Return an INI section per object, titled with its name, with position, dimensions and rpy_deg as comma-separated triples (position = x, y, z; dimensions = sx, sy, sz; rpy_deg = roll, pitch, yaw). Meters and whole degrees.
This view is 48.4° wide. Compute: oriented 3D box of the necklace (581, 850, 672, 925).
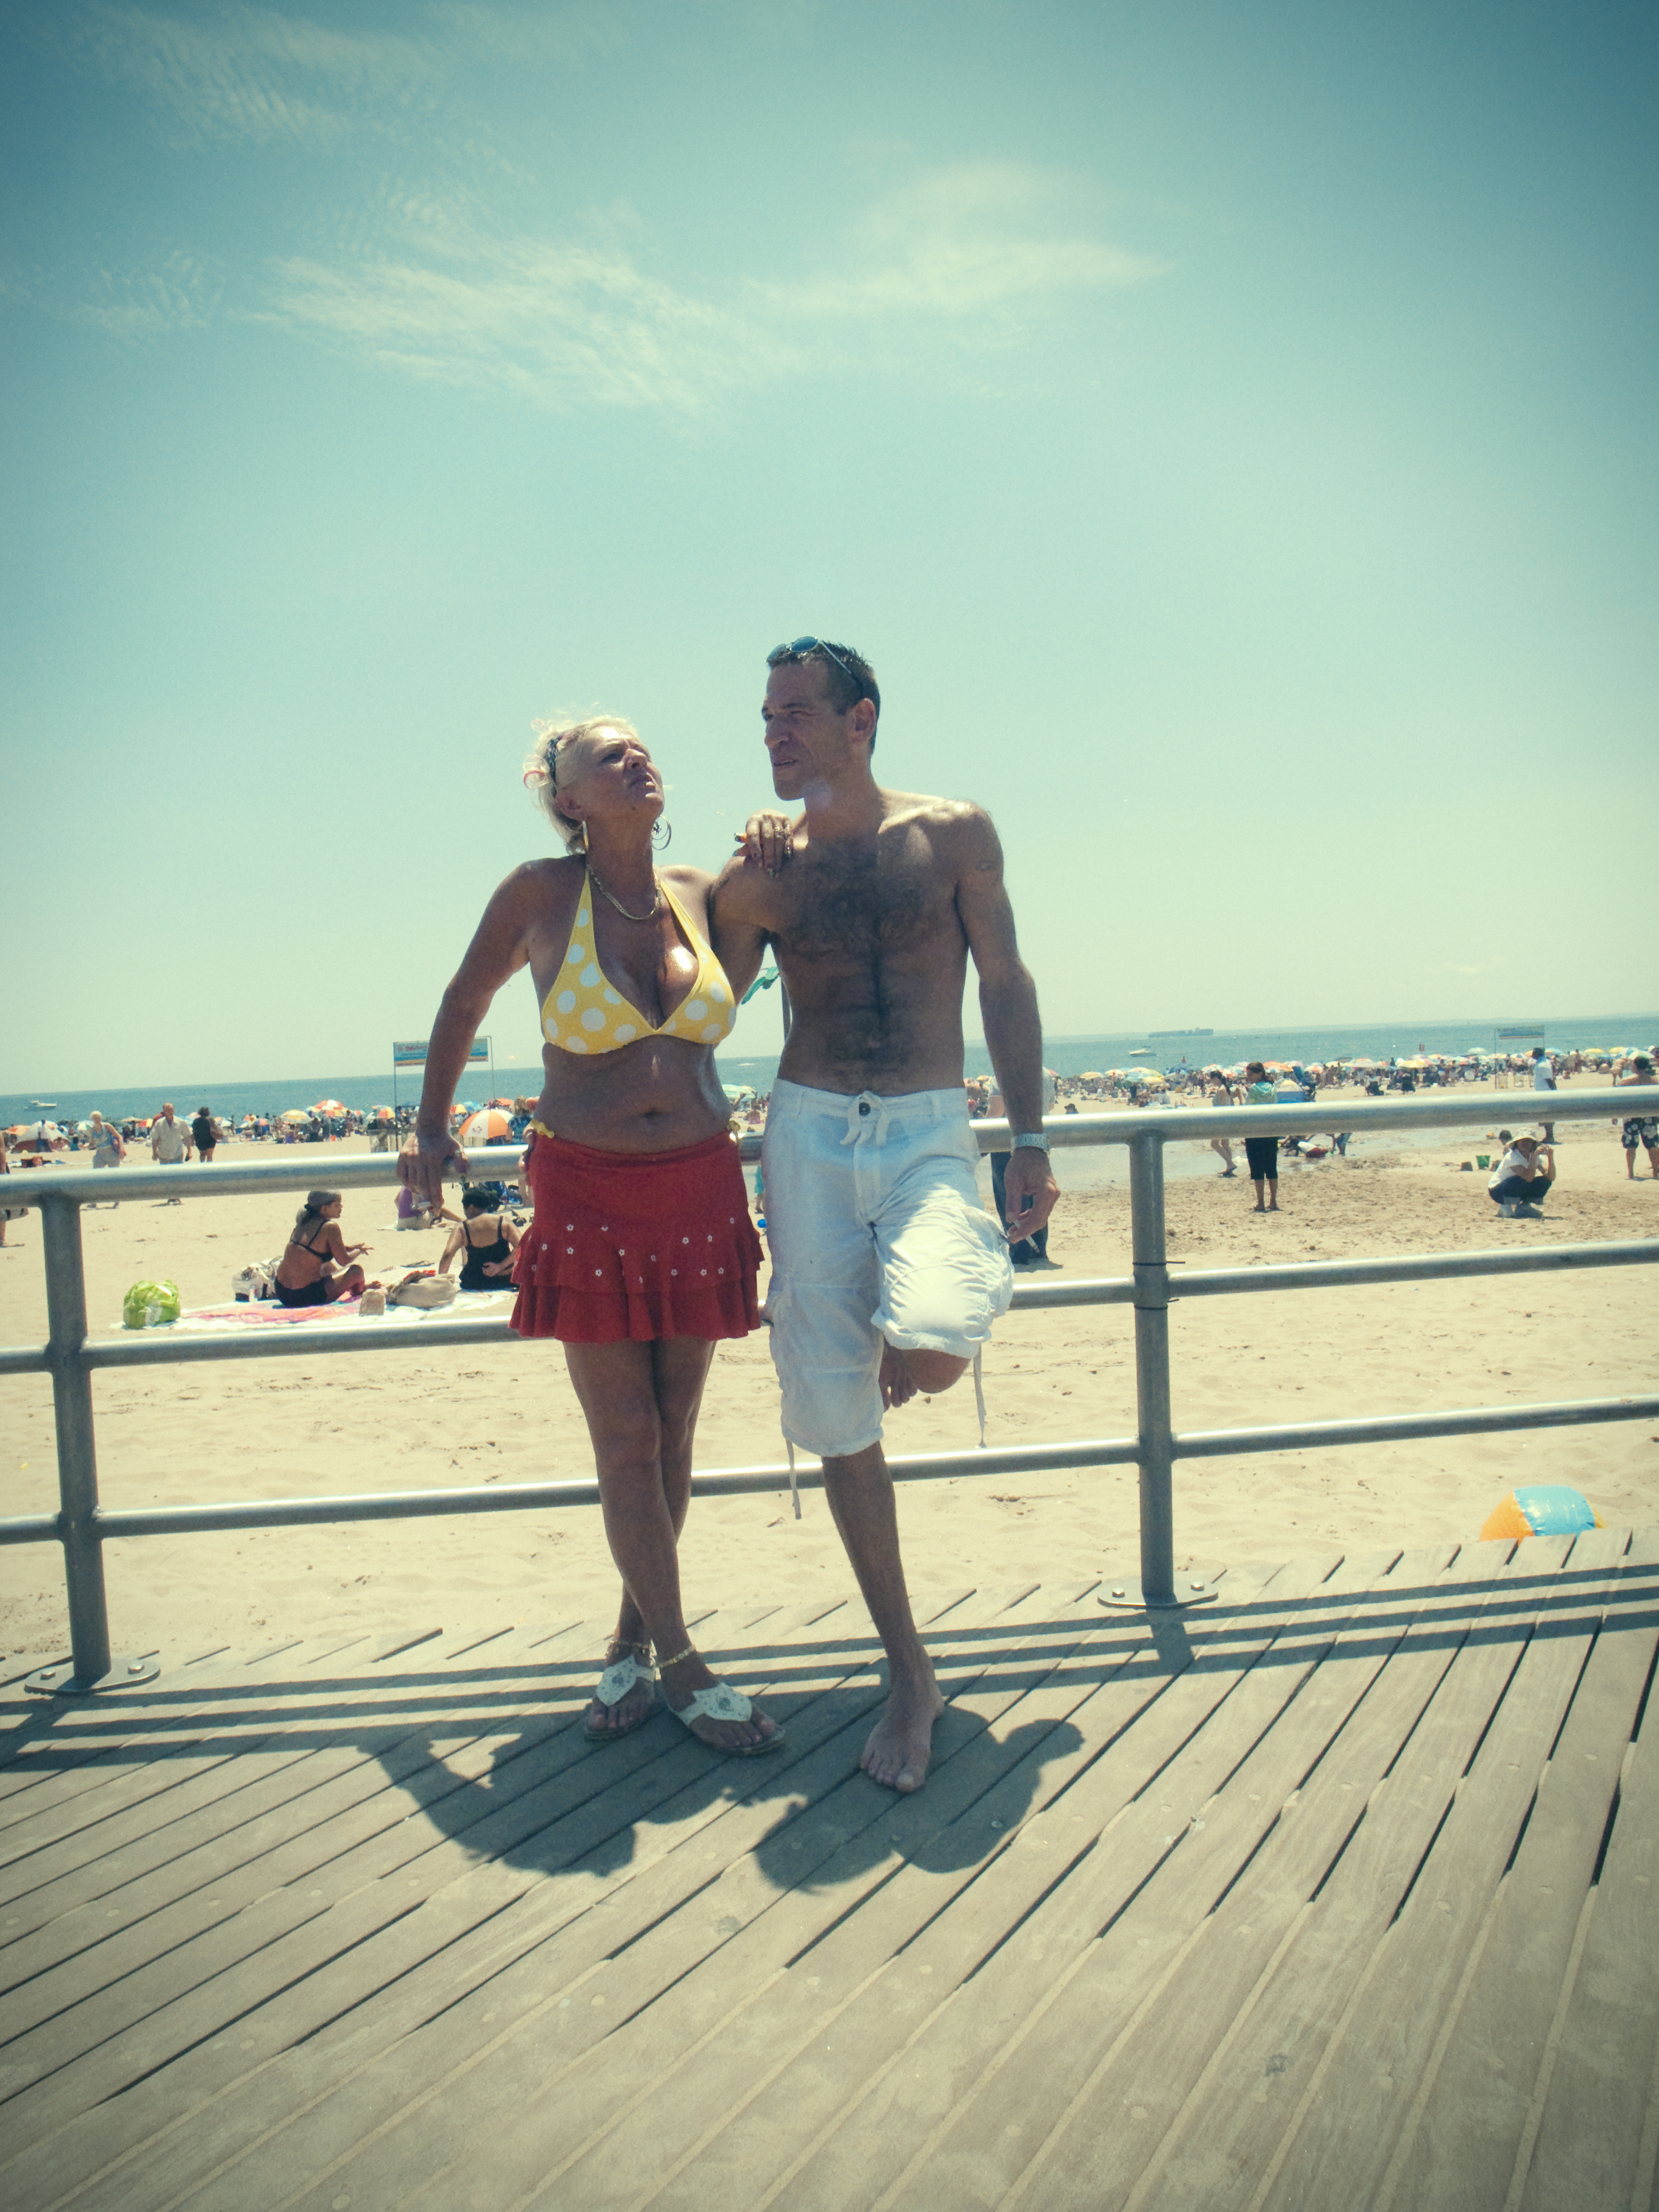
[necklace]
position = -0.294, -0.336, 2.777
dimensions = 0.092, 0.052, 0.133
rpy_deg = -1, 21, -12

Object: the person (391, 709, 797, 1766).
[person]
position = -0.370, 0.186, 2.762
dimensions = 0.524, 1.299, 0.416
rpy_deg = -2, -1, -3

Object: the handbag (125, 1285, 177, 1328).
[handbag]
position = -4.370, 1.298, 11.859
dimensions = 0.286, 0.236, 0.355
rpy_deg = 1, -1, -7
